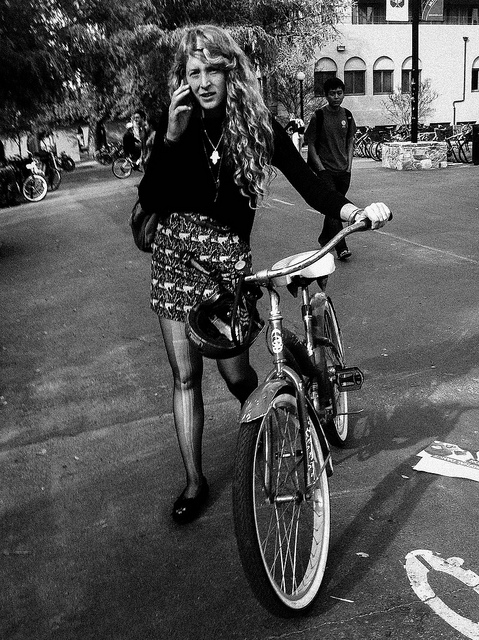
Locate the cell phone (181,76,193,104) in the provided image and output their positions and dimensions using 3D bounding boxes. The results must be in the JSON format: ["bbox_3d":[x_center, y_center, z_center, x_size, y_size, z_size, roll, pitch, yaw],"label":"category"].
[{"bbox_3d":[-0.174,-0.771,1.919,0.017,0.096,0.081,4,14,10],"label":"cell phone"}]

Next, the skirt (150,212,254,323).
[{"bbox_3d":[-0.127,-0.191,1.991,0.209,0.183,0.354,10,57,0],"label":"skirt"}]

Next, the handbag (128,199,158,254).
[{"bbox_3d":[-0.393,-0.362,2.178,0.102,0.188,0.157,-2,21,4],"label":"handbag"}]

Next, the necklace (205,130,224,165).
[{"bbox_3d":[-0.091,-0.593,1.939,0.062,0.121,0.032,-1,8,14],"label":"necklace"}]

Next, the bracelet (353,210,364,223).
[{"bbox_3d":[0.365,-0.316,1.749,0.005,0.026,0.023,19,-33,-29],"label":"bracelet"}]

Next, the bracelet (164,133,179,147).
[{"bbox_3d":[-0.237,-0.604,1.925,0.036,0.013,0.040,2,-7,-6],"label":"bracelet"}]

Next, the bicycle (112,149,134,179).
[{"bbox_3d":[-5.117,-6.408,23.750,0.594,1.003,1.353,9,26,16],"label":"bicycle"}]
